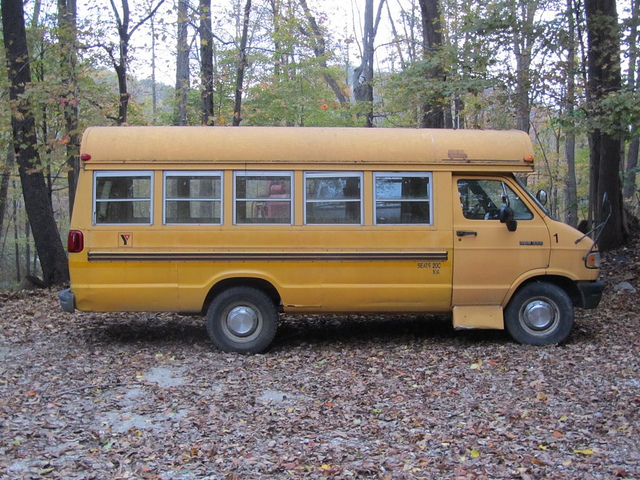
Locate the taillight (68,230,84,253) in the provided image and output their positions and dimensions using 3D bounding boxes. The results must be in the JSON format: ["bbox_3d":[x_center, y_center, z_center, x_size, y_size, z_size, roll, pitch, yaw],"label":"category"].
[{"bbox_3d":[-3.857,0.024,9.819,0.236,0.340,0.155,2,15,12],"label":"taillight"}]

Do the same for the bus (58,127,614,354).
[{"bbox_3d":[0.235,-0.121,11.117,9.445,3.297,3.108,0,4,-10],"label":"bus"}]

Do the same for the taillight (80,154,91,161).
[{"bbox_3d":[-3.697,-1.302,9.818,0.144,0.100,0.030,-7,16,-20],"label":"taillight"}]
